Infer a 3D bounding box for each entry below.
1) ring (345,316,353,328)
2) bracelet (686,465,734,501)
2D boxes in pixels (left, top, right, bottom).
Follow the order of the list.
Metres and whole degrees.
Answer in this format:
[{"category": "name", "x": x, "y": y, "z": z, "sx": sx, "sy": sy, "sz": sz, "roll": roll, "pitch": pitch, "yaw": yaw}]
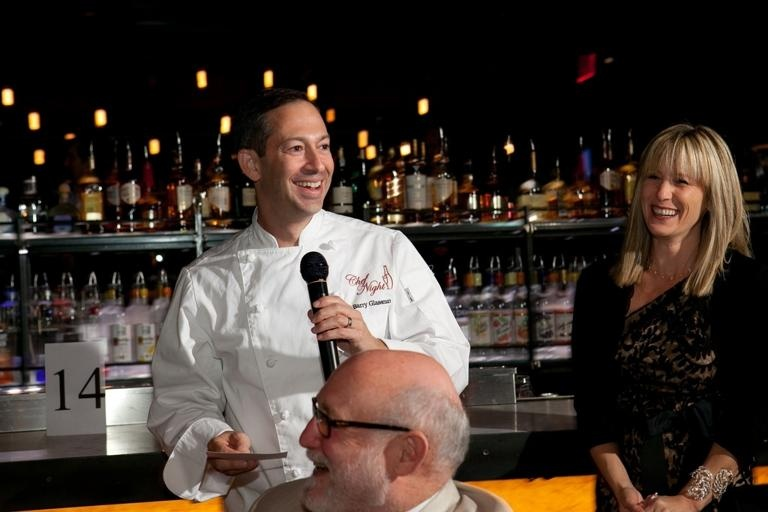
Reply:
[{"category": "ring", "x": -0.106, "y": 0.204, "z": 2.306, "sx": 0.027, "sy": 0.026, "sz": 0.023, "roll": 10, "pitch": 15, "yaw": -6}, {"category": "bracelet", "x": 1.172, "y": 0.797, "z": 2.642, "sx": 0.054, "sy": 0.115, "sz": 0.184, "roll": 36, "pitch": -42, "yaw": -24}]
